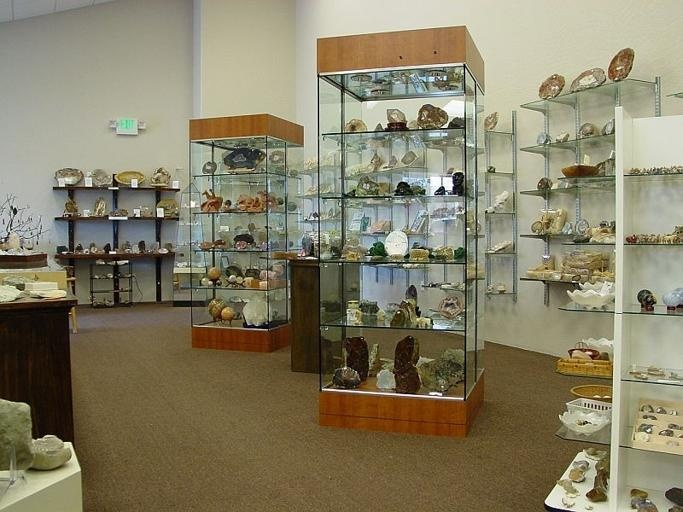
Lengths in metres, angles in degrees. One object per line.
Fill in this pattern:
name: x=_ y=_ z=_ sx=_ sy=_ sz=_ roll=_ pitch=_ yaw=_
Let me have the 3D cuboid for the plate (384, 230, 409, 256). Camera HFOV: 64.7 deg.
plate: x=0.460 y=-0.108 z=4.518 sx=0.196 sy=0.207 sz=0.048 roll=2 pitch=5 yaw=17

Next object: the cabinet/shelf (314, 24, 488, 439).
cabinet/shelf: x=0.460 y=-0.194 z=4.554 sx=1.373 sy=3.255 sz=0.533 roll=0 pitch=3 yaw=13

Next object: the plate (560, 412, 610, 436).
plate: x=1.592 y=1.095 z=3.527 sx=0.160 sy=0.061 sz=0.164 roll=-5 pitch=2 yaw=6

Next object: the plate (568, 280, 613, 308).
plate: x=1.598 y=0.254 z=3.404 sx=0.250 sy=0.097 sz=0.255 roll=-6 pitch=6 yaw=1

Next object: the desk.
desk: x=-0.219 y=0.613 z=6.296 sx=0.510 sy=1.191 sz=0.703 roll=3 pitch=6 yaw=30

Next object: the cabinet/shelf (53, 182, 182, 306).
cabinet/shelf: x=-4.459 y=-0.324 z=10.544 sx=2.419 sy=2.865 sz=0.792 roll=-1 pitch=1 yaw=-17
